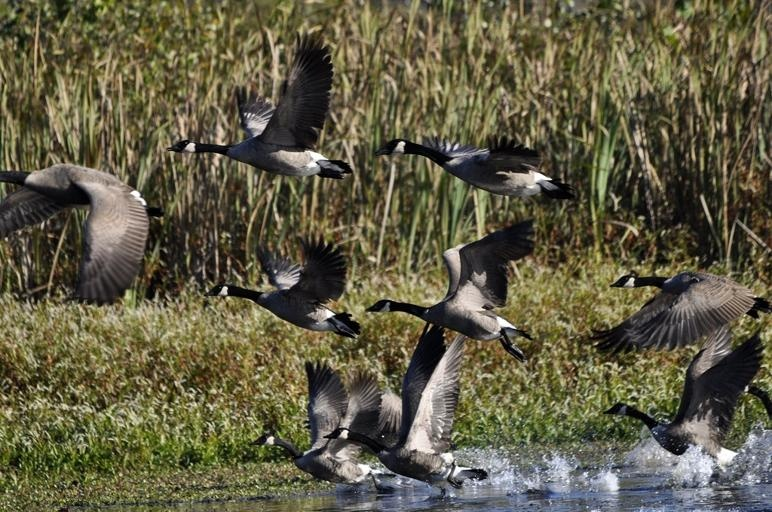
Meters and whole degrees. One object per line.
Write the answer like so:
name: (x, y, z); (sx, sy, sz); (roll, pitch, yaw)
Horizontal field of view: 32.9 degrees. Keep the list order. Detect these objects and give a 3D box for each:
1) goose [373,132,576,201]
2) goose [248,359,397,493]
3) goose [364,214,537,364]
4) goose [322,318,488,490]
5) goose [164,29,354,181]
goose: (1.085, -1.160, 16.612); (2.459, 0.842, 2.212); (3, 8, 39)
goose: (-0.623, 2.284, 16.730); (1.894, 1.834, 1.979); (7, -6, -19)
goose: (0.812, 0.537, 16.525); (2.076, 1.608, 3.090); (-3, -5, -7)
goose: (0.399, 1.664, 16.865); (1.679, 2.317, 2.276); (-19, -7, -10)
goose: (-1.671, -1.590, 16.640); (2.266, 1.461, 3.431); (-3, -14, -30)
